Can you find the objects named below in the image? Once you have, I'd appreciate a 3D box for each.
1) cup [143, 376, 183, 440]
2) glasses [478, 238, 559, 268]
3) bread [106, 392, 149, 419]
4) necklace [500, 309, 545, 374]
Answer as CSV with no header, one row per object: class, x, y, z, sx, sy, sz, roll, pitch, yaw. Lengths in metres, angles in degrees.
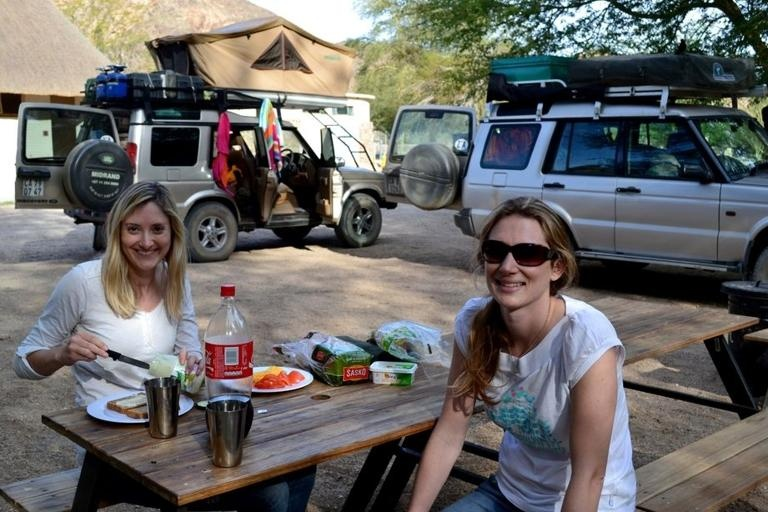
cup,-0.916,0.625,2.239,0.127,0.262,0.144,-5,13,-25
glasses,0.578,-0.016,2.359,0.340,0.104,0.132,5,12,20
bread,-1.130,0.674,2.415,0.134,0.030,0.135,6,6,40
necklace,0.614,0.348,2.342,0.191,0.205,0.062,3,12,12
